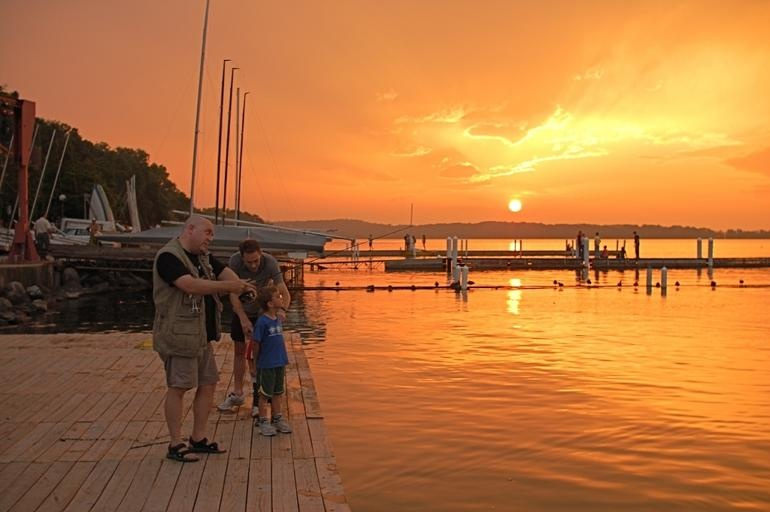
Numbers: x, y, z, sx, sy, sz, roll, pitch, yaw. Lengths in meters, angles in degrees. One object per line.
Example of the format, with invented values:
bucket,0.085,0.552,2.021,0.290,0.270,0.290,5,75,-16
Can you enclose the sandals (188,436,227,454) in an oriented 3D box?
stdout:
sandals,-2.445,2.634,9.807,0.539,0.199,0.203,1,-2,-1

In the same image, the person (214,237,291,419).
person,-2.014,1.061,11.104,0.984,2.742,1.131,0,0,-23
